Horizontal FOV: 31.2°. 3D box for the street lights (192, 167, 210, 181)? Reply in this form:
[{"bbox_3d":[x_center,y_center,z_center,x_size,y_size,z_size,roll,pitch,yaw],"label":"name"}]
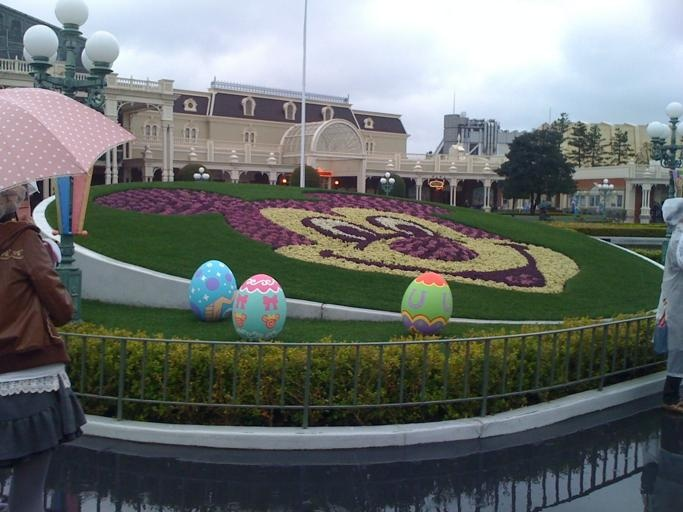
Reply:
[{"bbox_3d":[-5.507,-3.100,47.771,0.608,0.745,0.639,1,12,-8],"label":"street lights"}]
